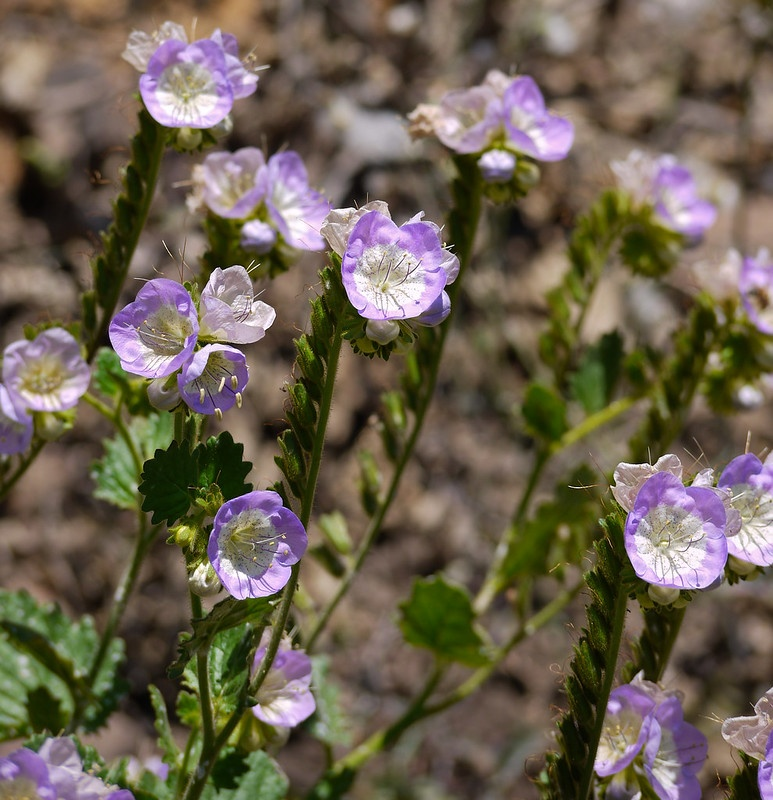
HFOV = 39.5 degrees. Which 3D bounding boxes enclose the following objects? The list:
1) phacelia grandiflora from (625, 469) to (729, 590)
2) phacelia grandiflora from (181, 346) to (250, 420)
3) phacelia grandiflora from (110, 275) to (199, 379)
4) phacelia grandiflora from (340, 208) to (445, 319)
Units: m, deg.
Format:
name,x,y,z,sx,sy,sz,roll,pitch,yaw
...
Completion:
name,x,y,z,sx,sy,sz,roll,pitch,yaw
phacelia grandiflora,0.552,0.255,2.042,0.208,0.087,0.209,13,76,3
phacelia grandiflora,-0.325,-0.036,2.001,0.127,0.115,0.118,-7,75,-2
phacelia grandiflora,-0.436,-0.129,2.004,0.173,0.083,0.178,-18,77,-5
phacelia grandiflora,0.018,-0.251,2.043,0.179,0.116,0.217,-3,85,-10
